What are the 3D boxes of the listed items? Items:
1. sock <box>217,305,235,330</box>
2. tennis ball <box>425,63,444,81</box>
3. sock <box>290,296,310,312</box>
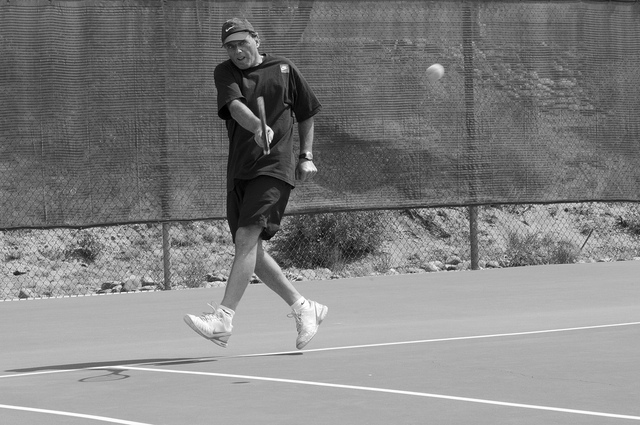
[{"bbox_3d":[-0.622,0.685,6.128,0.106,0.110,0.103,-2,2,-6],"label":"sock"},{"bbox_3d":[1.281,-1.574,10.503,0.189,0.115,0.182,0,-34,0],"label":"tennis ball"},{"bbox_3d":[-0.140,0.630,6.389,0.121,0.063,0.110,-2,2,-10],"label":"sock"}]
